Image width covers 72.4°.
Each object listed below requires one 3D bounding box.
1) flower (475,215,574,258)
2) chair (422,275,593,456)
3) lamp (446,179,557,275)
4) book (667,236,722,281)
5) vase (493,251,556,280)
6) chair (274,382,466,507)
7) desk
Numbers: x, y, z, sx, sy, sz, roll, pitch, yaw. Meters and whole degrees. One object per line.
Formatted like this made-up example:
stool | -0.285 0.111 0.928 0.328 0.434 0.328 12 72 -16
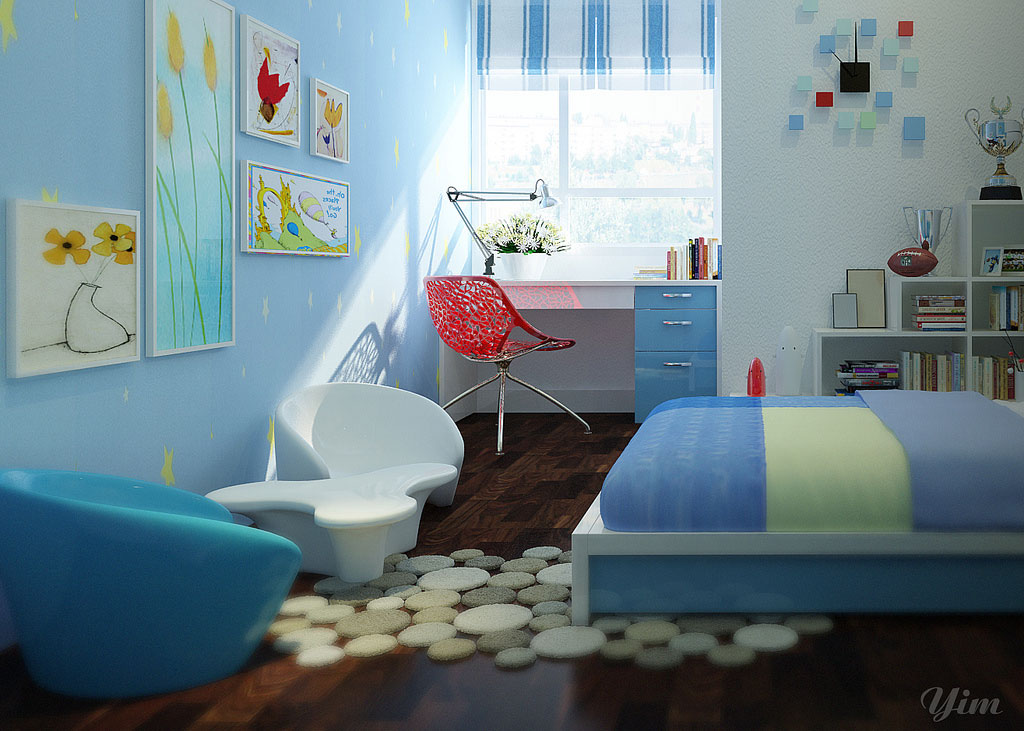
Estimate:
flower | 0.099 -0.906 5.199 0.394 0.207 0.381 1 2 19
chair | -0.083 -0.068 4.387 1.057 1.007 1.017 -5 10 -19
lamp | -0.097 -1.034 5.311 0.876 0.717 0.225 6 16 22
book | 1.267 -0.724 4.858 0.437 0.390 0.232 0 0 3
vase | 0.075 -0.724 5.214 0.434 0.208 0.652 -1 6 0
chair | -0.634 0.340 2.875 0.783 0.484 0.545 -3 0 -44
desk | 0.522 -0.097 5.158 1.992 0.967 0.765 1 1 18
